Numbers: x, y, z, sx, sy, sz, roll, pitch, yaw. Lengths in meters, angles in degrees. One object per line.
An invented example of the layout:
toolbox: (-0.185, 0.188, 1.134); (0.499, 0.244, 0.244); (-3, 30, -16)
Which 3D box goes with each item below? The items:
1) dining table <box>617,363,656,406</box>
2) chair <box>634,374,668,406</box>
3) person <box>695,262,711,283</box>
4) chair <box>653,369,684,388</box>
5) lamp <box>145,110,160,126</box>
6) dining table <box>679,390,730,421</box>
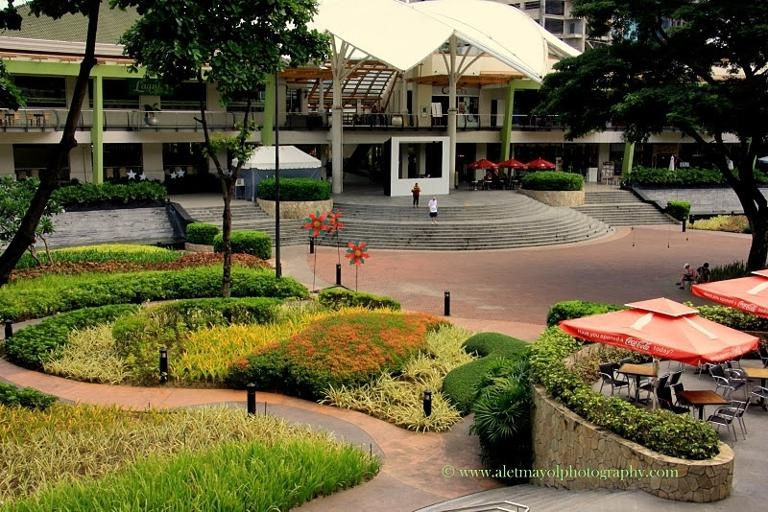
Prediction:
dining table: (6.147, 3.151, 16.959); (0.947, 0.894, 0.952); (2, 10, 21)
chair: (6.367, 3.221, 16.572); (0.570, 0.786, 0.522); (19, 30, 41)
person: (13.694, 0.748, 29.878); (0.461, 1.190, 0.537); (-10, 18, -26)
chair: (6.844, 2.977, 16.756); (0.400, 0.575, 0.349); (-13, 24, -28)
lamp: (-15.407, -9.066, 46.020); (0.724, 0.892, 0.928); (-1, 0, -30)
dining table: (7.106, 3.246, 15.568); (0.790, 0.750, 0.782); (-3, 13, -5)
